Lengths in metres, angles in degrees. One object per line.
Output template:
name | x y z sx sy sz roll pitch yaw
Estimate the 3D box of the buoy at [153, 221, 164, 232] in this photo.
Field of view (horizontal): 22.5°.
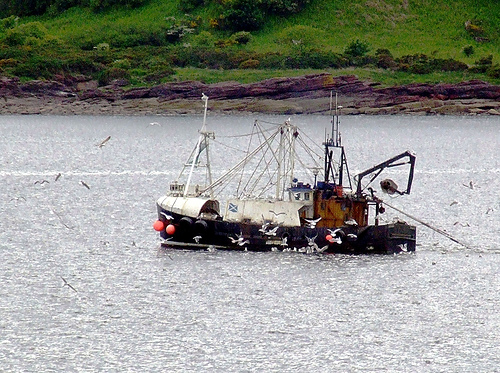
buoy | -10.566 4.365 145.076 1.335 0.993 1.059 -8 21 -15
